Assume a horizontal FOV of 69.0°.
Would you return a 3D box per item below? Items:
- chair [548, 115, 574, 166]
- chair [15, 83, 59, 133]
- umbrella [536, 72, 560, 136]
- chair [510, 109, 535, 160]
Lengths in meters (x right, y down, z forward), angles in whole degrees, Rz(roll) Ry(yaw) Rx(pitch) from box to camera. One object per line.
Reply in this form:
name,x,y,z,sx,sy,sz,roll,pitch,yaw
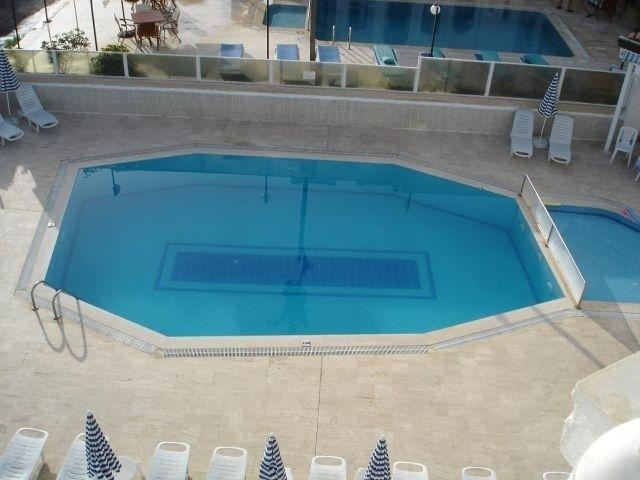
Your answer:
chair,7.843,-3.251,15.181,0.769,1.983,0.821,6,-24,17
chair,-9.129,-4.288,14.969,0.646,1.823,0.866,-33,-10,-36
umbrella,7.481,-4.450,15.261,0.599,2.061,1.424,9,17,23
chair,6.648,-3.465,15.366,0.704,2.013,0.841,4,-28,12
